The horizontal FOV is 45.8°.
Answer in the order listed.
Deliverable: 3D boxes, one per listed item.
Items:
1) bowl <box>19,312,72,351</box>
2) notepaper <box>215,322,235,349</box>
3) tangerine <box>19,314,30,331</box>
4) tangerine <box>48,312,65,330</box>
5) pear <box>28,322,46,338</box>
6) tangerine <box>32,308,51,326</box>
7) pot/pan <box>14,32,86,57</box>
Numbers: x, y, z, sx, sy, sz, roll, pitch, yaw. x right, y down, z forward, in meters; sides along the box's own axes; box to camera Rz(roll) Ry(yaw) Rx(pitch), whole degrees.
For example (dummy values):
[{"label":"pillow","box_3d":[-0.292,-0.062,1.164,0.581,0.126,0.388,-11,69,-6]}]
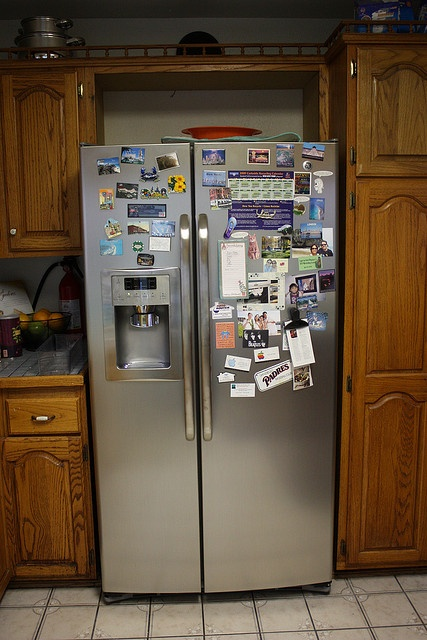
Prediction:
[{"label":"bowl","box_3d":[-0.740,0.070,2.166,0.173,0.126,0.180,-2,-6,0]},{"label":"notepaper","box_3d":[0.036,0.048,1.705,0.080,0.118,0.011,0,3,-2]},{"label":"tangerine","box_3d":[-0.829,0.009,2.212,0.062,0.083,0.066,-2,5,-18]},{"label":"tangerine","box_3d":[-0.680,0.010,2.173,0.064,0.087,0.069,-3,-9,31]},{"label":"pear","box_3d":[-0.744,0.035,2.120,0.062,0.070,0.050,2,-2,-15]},{"label":"tangerine","box_3d":[-0.749,-0.015,2.196,0.066,0.090,0.067,0,-22,14]},{"label":"pot/pan","box_3d":[-0.635,-1.064,1.952,0.182,0.071,0.155,-5,9,-23]}]
